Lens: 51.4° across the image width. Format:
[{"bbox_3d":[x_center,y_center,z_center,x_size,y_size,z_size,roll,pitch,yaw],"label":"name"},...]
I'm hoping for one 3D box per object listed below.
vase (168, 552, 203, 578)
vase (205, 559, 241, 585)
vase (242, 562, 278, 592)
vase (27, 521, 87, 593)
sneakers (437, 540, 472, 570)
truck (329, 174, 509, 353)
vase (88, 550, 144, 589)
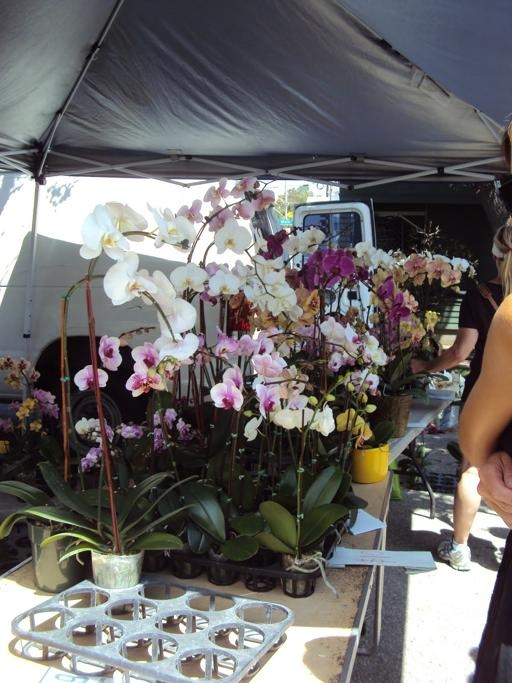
[{"bbox_3d":[-0.143,0.447,1.093,0.064,0.036,0.063,-3,-9,31],"label":"vase"},{"bbox_3d":[-0.064,0.462,1.059,0.066,0.052,0.061,1,-2,7],"label":"vase"},{"bbox_3d":[0.008,0.469,1.043,0.064,0.041,0.060,2,0,4],"label":"vase"},{"bbox_3d":[-0.370,0.416,1.048,0.126,0.114,0.112,2,-12,-24],"label":"vase"},{"bbox_3d":[1.055,1.144,2.837,0.095,0.094,0.223,0,6,5],"label":"sneakers"},{"bbox_3d":[2.821,-1.980,8.802,2.414,2.487,1.697,6,15,20],"label":"truck"},{"bbox_3d":[-0.240,0.397,0.916,0.083,0.044,0.077,0,-9,5],"label":"vase"}]
